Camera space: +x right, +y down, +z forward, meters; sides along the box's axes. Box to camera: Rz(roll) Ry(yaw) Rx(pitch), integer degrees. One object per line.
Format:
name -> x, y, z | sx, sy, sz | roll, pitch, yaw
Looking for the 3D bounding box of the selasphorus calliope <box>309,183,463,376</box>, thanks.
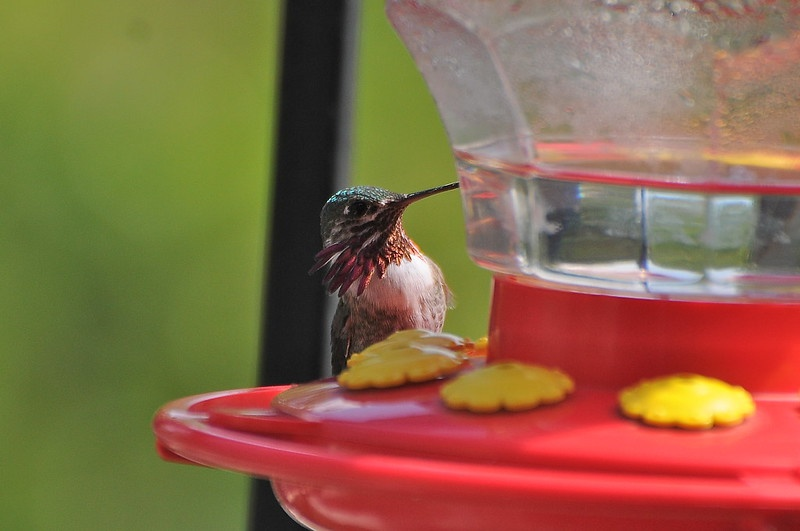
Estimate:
selasphorus calliope -> -0.003, 0.037, 0.970 | 0.156, 0.223, 0.232 | -8, -3, -3
